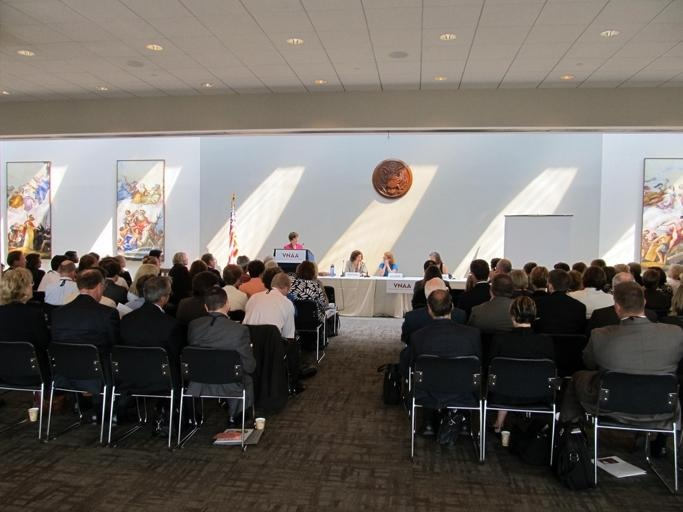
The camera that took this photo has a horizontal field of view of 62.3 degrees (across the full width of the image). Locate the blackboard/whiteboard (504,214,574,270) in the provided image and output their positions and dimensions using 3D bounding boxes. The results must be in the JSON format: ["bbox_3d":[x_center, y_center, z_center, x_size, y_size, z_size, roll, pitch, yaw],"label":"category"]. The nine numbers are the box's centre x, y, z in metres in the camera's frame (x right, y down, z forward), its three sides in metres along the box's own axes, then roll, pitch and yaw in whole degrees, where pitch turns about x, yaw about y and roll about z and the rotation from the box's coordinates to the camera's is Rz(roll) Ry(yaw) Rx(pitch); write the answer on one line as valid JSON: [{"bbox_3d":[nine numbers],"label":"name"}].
[{"bbox_3d":[3.758,-0.252,10.747,1.019,0.957,0.328,0,-3,13],"label":"blackboard/whiteboard"}]

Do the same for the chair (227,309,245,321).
[{"bbox_3d":[-1.279,0.703,6.804,0.242,0.166,0.132,1,-5,-12],"label":"chair"}]

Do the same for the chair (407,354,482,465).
[{"bbox_3d":[0.967,1.358,5.481,0.877,1.267,0.892,0,6,9],"label":"chair"}]

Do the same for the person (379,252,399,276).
[{"bbox_3d":[0.938,0.175,11.355,0.334,0.375,0.845,2,-1,1],"label":"person"}]

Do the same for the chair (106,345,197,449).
[{"bbox_3d":[-1.912,1.288,5.572,0.649,0.985,0.716,0,5,-8],"label":"chair"}]

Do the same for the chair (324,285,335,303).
[{"bbox_3d":[-0.225,0.639,9.326,0.222,0.363,0.240,1,-4,-10],"label":"chair"}]

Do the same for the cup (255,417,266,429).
[{"bbox_3d":[-0.841,1.717,5.803,0.099,0.076,0.100,1,-4,0],"label":"cup"}]

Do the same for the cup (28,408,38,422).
[{"bbox_3d":[-3.228,1.656,5.880,0.107,0.108,0.107,-2,-9,0],"label":"cup"}]

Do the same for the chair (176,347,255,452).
[{"bbox_3d":[-1.238,1.386,5.496,0.811,1.224,0.861,1,12,-3],"label":"chair"}]

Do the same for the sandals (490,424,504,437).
[{"bbox_3d":[1.596,1.775,5.743,0.104,0.099,0.084,1,-2,10],"label":"sandals"}]
